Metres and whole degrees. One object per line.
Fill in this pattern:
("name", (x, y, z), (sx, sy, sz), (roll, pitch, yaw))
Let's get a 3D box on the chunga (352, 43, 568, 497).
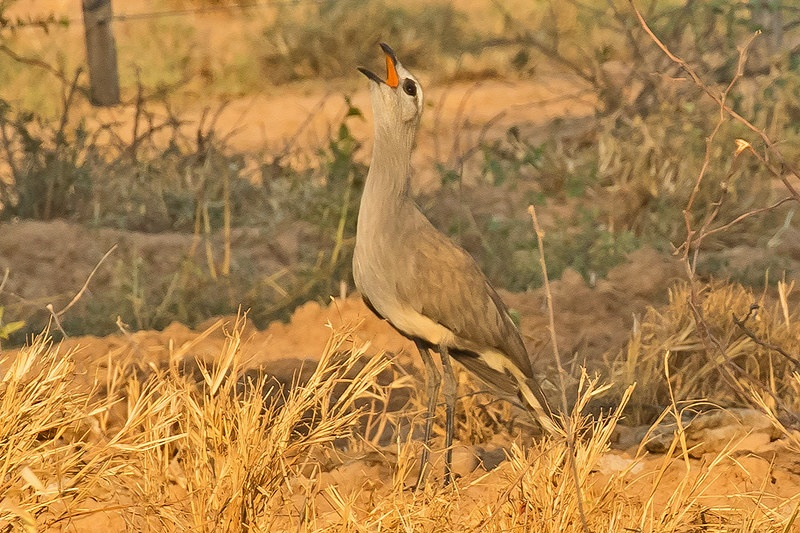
("chunga", (0.200, -0.204, 7.025), (1.062, 2.469, 0.685), (10, 23, 40))
